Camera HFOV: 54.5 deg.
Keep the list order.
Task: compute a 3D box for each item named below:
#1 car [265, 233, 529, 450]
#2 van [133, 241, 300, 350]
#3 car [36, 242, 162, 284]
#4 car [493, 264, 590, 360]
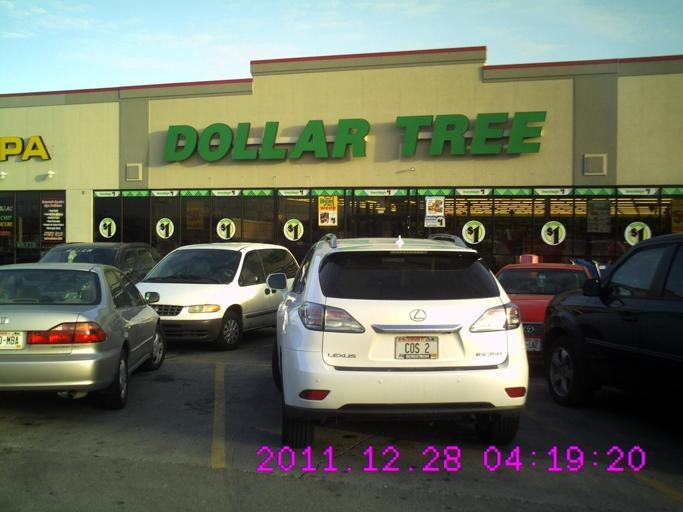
[{"bbox_3d":[0.581,0.756,6.338,1.618,1.210,2.629,1,6,-2],"label":"car"},{"bbox_3d":[-2.417,0.642,13.366,1.725,1.321,3.039,-2,-2,13],"label":"van"},{"bbox_3d":[-5.630,-0.097,15.869,1.349,1.091,3.030,0,-3,6],"label":"car"},{"bbox_3d":[3.426,0.659,11.206,1.083,1.057,2.250,-1,-4,14],"label":"car"}]
